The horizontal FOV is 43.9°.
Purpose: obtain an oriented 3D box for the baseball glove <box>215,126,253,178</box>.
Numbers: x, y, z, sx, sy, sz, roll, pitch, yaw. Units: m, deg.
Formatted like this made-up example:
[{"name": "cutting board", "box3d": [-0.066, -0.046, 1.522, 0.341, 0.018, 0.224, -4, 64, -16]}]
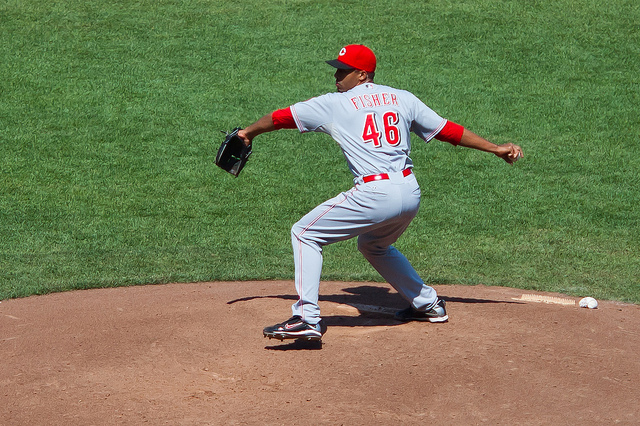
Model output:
[{"name": "baseball glove", "box3d": [-1.001, -0.665, 9.089, 0.410, 0.550, 0.553, 29, 1, -11]}]
